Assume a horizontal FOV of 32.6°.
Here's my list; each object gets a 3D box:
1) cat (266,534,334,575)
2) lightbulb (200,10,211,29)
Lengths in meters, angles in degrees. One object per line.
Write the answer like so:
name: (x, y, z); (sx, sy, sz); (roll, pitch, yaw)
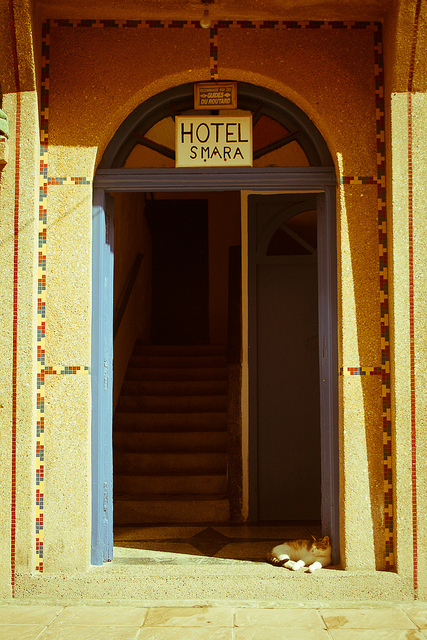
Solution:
cat: (0.464, 1.206, 3.760); (0.329, 0.124, 0.303); (-3, 11, -15)
lightbulb: (-0.055, -1.551, 3.798); (0.053, 0.080, 0.098); (-1, 10, -1)
